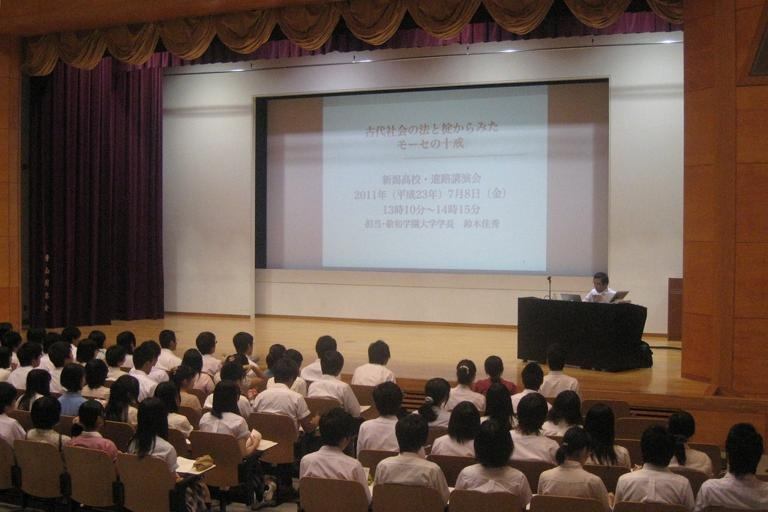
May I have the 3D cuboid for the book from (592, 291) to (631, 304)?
[{"bbox_3d":[2.862,0.530,8.332,0.269,0.137,0.387,4,1,-30],"label":"book"}]

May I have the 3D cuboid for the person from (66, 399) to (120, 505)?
[{"bbox_3d":[-2.178,1.485,4.910,0.418,0.796,0.146,1,0,12],"label":"person"}]

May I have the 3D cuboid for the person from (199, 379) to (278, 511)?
[{"bbox_3d":[-1.195,1.518,5.243,0.546,1.029,0.310,1,1,-17],"label":"person"}]

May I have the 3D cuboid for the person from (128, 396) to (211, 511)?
[{"bbox_3d":[-1.587,1.485,4.815,0.561,0.893,0.263,1,1,-23],"label":"person"}]

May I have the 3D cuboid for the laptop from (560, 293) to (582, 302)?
[{"bbox_3d":[2.282,0.505,8.006,0.214,0.083,0.293,1,1,11],"label":"laptop"}]
